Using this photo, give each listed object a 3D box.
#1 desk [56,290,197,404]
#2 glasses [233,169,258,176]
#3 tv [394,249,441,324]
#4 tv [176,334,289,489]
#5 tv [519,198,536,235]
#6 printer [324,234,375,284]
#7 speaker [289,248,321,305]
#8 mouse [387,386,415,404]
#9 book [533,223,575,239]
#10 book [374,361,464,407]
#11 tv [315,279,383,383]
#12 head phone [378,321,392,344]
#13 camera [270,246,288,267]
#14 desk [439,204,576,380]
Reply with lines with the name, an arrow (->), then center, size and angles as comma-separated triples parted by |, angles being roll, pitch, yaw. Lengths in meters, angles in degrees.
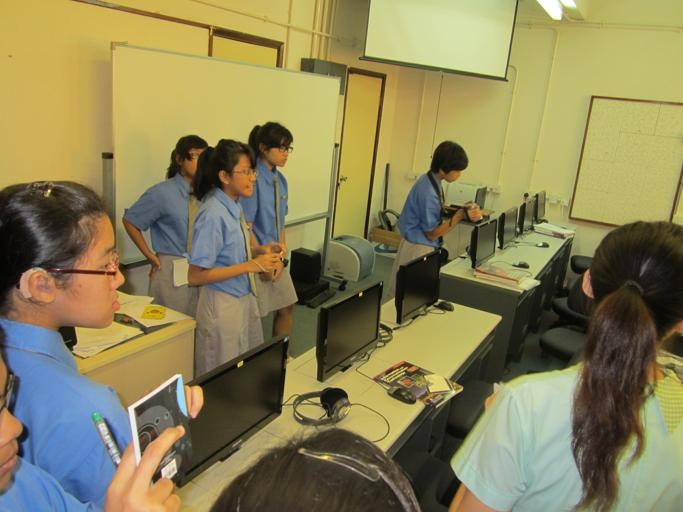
desk -> -1.079, 0.425, 2.551 | 0.623, 0.401, 0.631 | 12, 16, 37
glasses -> -0.534, -0.461, 2.868 | 0.038, 0.044, 0.152 | 15, 20, 34
tv -> 0.505, 0.212, 3.318 | 0.058, 0.305, 0.422 | 10, 21, 30
tv -> -0.362, 0.502, 1.695 | 0.108, 0.306, 0.422 | 14, 27, 25
tv -> 2.226, -0.458, 6.150 | 0.168, 0.477, 0.465 | 6, 3, 21
printer -> 0.094, 0.032, 6.132 | 0.514, 0.471, 0.512 | 9, 18, 26
speaker -> -0.373, 0.219, 5.258 | 0.219, 0.388, 0.404 | 12, 29, 22
mouse -> 0.287, 0.652, 2.430 | 0.142, 0.036, 0.078 | 12, 19, 26
book -> 2.593, -0.316, 6.324 | 0.327, 0.092, 0.326 | 16, 16, 27
book -> 0.361, 0.628, 2.504 | 0.243, 0.053, 0.234 | 20, 23, 34
tv -> 0.041, 0.414, 2.741 | 0.074, 0.387, 0.507 | 12, 20, 31
head phone -> 0.252, 0.450, 3.022 | 0.045, 0.117, 0.085 | 14, 11, 30
camera -> -0.397, 0.004, 3.334 | 0.097, 0.142, 0.053 | 6, -1, -13
desk -> 1.432, 0.298, 4.362 | 0.428, 0.674, 1.463 | 17, 29, 30
